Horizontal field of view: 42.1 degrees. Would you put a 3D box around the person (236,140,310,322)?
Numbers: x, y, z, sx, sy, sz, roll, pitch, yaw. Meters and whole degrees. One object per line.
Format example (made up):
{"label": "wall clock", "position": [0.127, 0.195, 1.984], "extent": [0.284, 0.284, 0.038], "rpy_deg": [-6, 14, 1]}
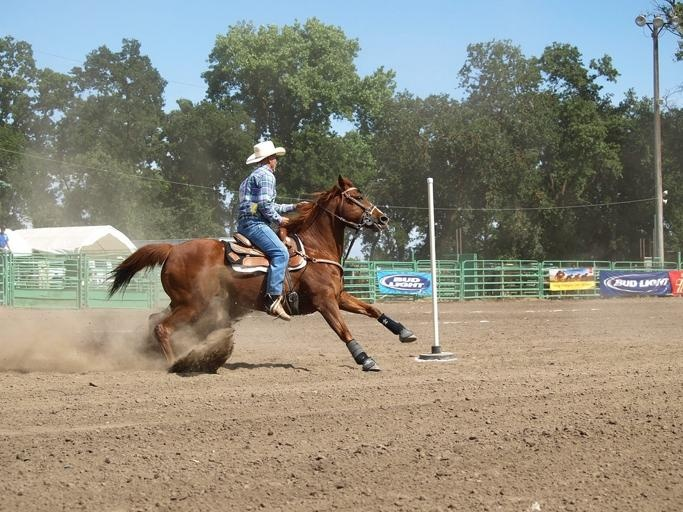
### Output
{"label": "person", "position": [-1.186, -0.374, 13.620], "extent": [0.826, 2.734, 1.047], "rpy_deg": [-1, 8, -4]}
